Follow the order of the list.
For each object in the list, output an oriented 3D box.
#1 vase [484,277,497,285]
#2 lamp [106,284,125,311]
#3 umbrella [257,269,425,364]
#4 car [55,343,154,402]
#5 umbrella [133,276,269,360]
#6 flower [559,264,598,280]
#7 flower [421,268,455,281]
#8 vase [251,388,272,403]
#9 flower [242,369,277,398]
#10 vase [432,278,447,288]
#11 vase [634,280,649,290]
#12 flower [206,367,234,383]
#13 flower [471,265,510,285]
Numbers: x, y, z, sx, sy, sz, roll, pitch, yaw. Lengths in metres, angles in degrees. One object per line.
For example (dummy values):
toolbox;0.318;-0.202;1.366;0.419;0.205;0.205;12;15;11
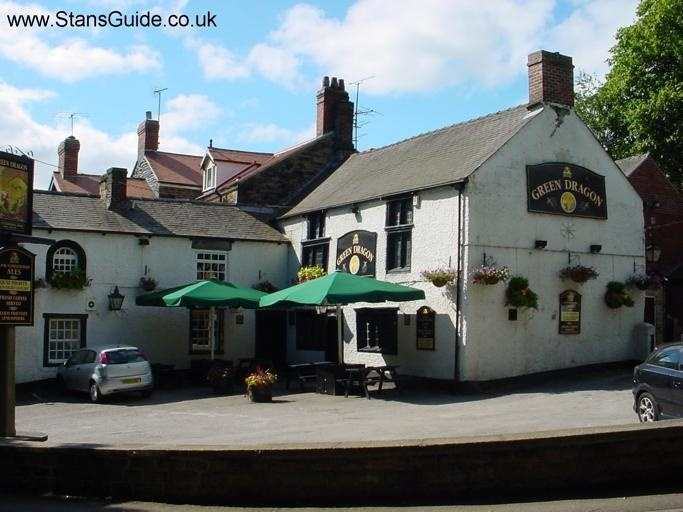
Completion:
vase;4.423;0.697;32.286;0.344;0.288;0.398;0;10;7
lamp;-7.432;1.403;37.000;0.711;0.992;0.676;2;-6;-12
umbrella;0.221;1.833;33.377;4.129;2.467;4.221;-5;-4;42
car;-7.184;3.508;33.944;1.580;1.141;2.540;2;1;-42
umbrella;-3.920;1.762;35.702;3.290;1.979;3.213;4;-7;-41
flower;7.181;0.514;33.833;0.696;0.293;0.684;0;-1;-43
flower;2.981;0.518;32.670;0.514;0.261;0.505;5;-7;-43
vase;-2.252;3.961;31.896;0.506;0.328;0.400;-1;-6;4
flower;-2.206;3.617;32.059;0.776;0.760;0.800;-16;-13;37
vase;2.952;0.736;32.715;0.429;0.367;0.477;0;10;5
vase;9.590;0.900;35.071;0.334;0.221;0.294;2;-7;9
flower;-3.670;3.616;34.389;0.828;0.498;0.391;-4;10;-16
flower;4.486;0.563;32.491;0.757;0.589;1.197;8;13;43
